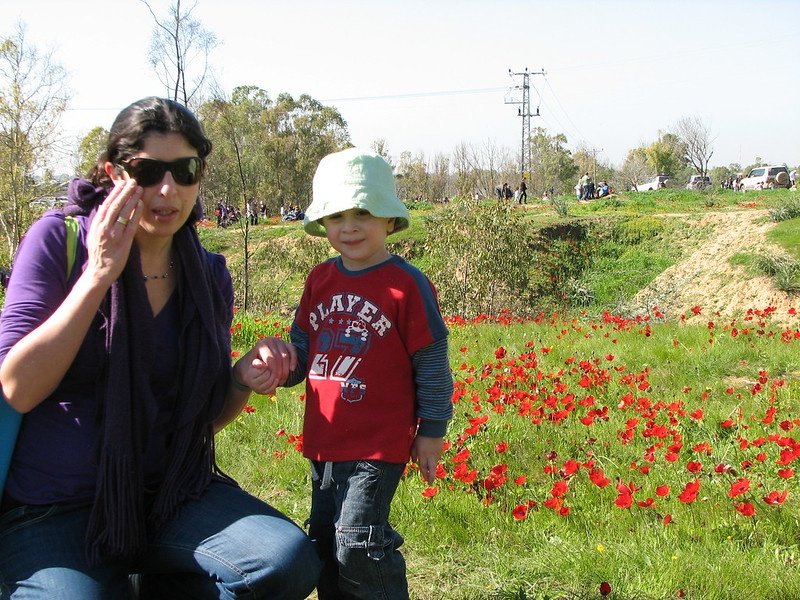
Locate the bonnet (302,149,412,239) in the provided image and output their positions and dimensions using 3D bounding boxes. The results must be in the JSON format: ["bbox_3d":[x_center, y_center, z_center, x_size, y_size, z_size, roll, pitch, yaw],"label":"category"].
[{"bbox_3d":[-0.203,-0.543,3.439,0.513,0.460,0.636,0,8,16],"label":"bonnet"}]

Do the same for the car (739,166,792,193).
[{"bbox_3d":[19.487,-6.507,35.554,1.609,1.503,5.646,-1,4,14],"label":"car"}]

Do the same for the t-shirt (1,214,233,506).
[{"bbox_3d":[-1.287,0.296,3.020,0.514,1.206,0.954,6,-5,43],"label":"t-shirt"}]

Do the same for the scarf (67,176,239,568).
[{"bbox_3d":[-1.084,0.264,3.123,0.532,1.939,0.366,-3,19,-34],"label":"scarf"}]
